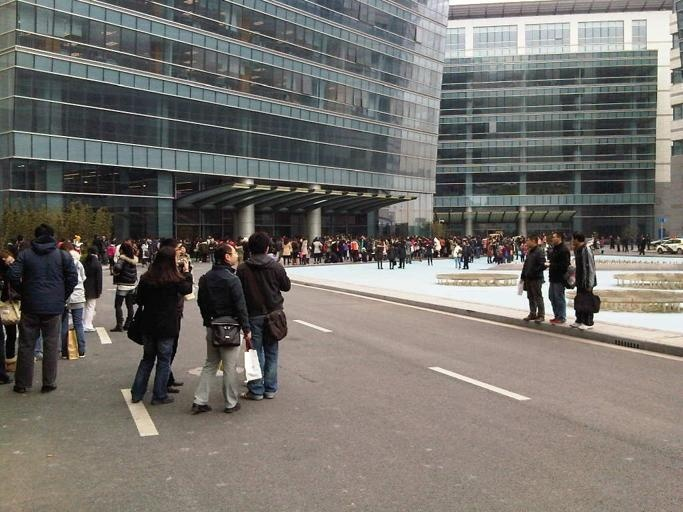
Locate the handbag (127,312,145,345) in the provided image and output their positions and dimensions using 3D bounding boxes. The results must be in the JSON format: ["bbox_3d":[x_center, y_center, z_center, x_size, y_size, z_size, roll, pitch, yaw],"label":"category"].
[{"bbox_3d":[-2.620,0.908,7.833,0.175,0.456,0.276,-3,3,-19],"label":"handbag"}]

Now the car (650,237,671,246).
[{"bbox_3d":[33.874,-1.533,64.855,2.503,0.991,1.816,-4,-1,28],"label":"car"}]

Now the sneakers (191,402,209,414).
[{"bbox_3d":[-1.722,1.877,7.528,0.263,0.115,0.092,-3,22,-34],"label":"sneakers"}]

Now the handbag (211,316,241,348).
[{"bbox_3d":[-1.415,0.929,7.480,0.364,0.359,0.169,0,-7,-7],"label":"handbag"}]

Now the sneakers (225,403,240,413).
[{"bbox_3d":[-1.334,1.895,7.648,0.223,0.096,0.075,-4,36,-35],"label":"sneakers"}]

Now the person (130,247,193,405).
[{"bbox_3d":[-2.317,0.893,7.851,0.807,2.007,0.343,-2,3,-6],"label":"person"}]

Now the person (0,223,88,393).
[{"bbox_3d":[-4.148,0.705,8.547,0.847,2.295,0.551,-3,3,-29],"label":"person"}]

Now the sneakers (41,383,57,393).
[{"bbox_3d":[-4.016,1.817,8.438,0.089,0.080,0.192,1,3,4],"label":"sneakers"}]

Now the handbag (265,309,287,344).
[{"bbox_3d":[-0.844,0.901,8.060,0.244,0.440,0.367,-5,5,6],"label":"handbag"}]

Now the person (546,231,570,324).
[{"bbox_3d":[4.577,0.483,12.813,0.435,1.894,1.162,-1,3,19],"label":"person"}]

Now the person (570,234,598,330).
[{"bbox_3d":[4.879,0.506,12.185,0.477,1.908,0.982,-1,3,21],"label":"person"}]

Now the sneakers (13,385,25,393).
[{"bbox_3d":[-4.397,1.823,8.392,0.225,0.096,0.077,-13,-12,43],"label":"sneakers"}]

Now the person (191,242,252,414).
[{"bbox_3d":[-1.499,0.896,7.603,0.741,2.070,0.423,-2,3,-8],"label":"person"}]

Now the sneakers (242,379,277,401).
[{"bbox_3d":[-1.097,1.774,8.143,0.231,0.189,0.419,-1,5,-22],"label":"sneakers"}]

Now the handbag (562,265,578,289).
[{"bbox_3d":[4.624,0.422,12.263,0.177,0.333,0.399,9,45,1],"label":"handbag"}]
